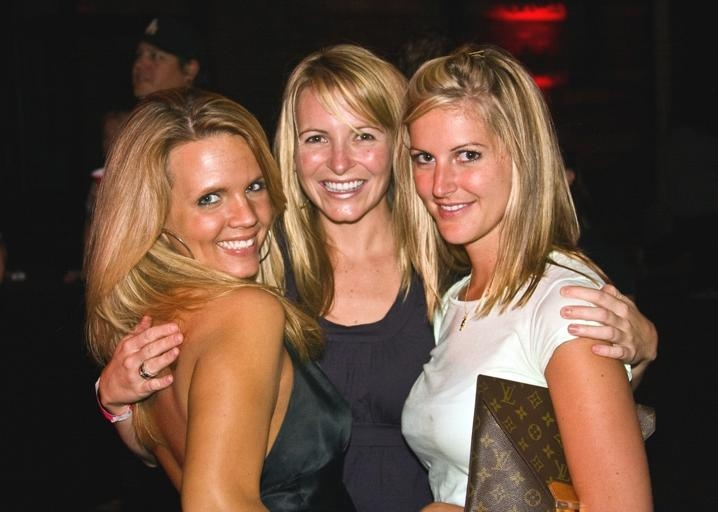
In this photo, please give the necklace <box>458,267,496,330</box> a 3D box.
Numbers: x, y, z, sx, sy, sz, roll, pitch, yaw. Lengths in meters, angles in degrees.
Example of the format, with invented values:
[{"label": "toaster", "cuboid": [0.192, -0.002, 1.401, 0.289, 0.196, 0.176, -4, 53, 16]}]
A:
[{"label": "necklace", "cuboid": [0.748, 0.299, 4.629, 0.171, 0.320, 0.166, 9, 2, 30]}]
